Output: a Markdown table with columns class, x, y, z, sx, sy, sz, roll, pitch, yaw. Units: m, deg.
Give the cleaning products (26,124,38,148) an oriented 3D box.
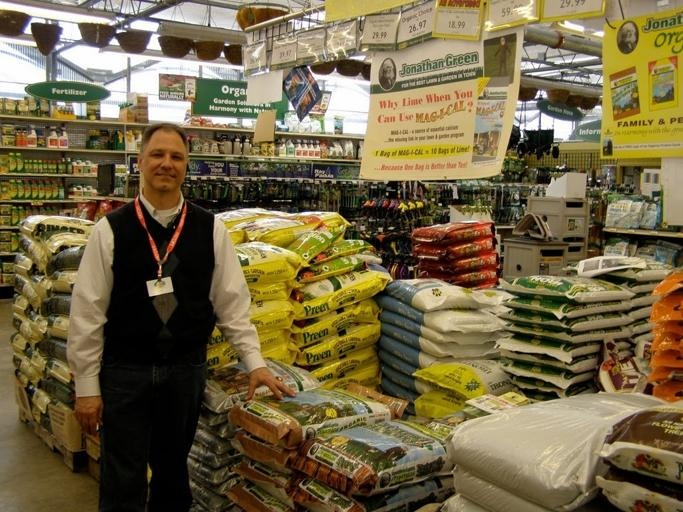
| class | x | y | z | sx | sy | sz | roll | pitch | yaw |
| --- | --- | --- | --- | --- | --- | --- | --- | --- | --- |
| cleaning products | -5.461 | -2.088 | 8.551 | 0.150 | 0.392 | 0.217 | -5 | 8 | -29 |
